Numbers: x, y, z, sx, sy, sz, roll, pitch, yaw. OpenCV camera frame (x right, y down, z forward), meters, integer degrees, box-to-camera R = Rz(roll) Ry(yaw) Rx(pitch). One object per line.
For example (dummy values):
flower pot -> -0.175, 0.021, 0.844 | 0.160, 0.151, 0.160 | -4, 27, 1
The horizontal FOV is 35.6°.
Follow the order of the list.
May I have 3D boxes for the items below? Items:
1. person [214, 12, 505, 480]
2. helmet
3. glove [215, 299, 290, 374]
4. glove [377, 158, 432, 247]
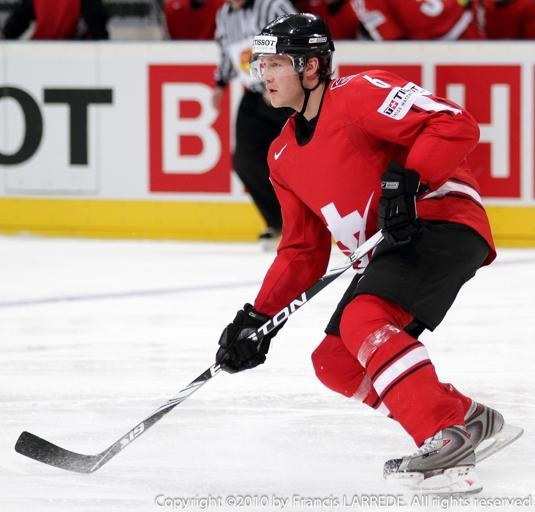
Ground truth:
person -> 0.176, -0.054, 1.789 | 0.662, 0.962, 0.523 | 1, 11, 13
helmet -> 0.064, -0.492, 1.932 | 0.174, 0.095, 0.117 | 1, 3, -15
glove -> -0.059, 0.196, 1.957 | 0.071, 0.199, 0.129 | 48, 15, -32
glove -> 0.279, -0.106, 1.685 | 0.129, 0.140, 0.062 | 4, 9, 32
